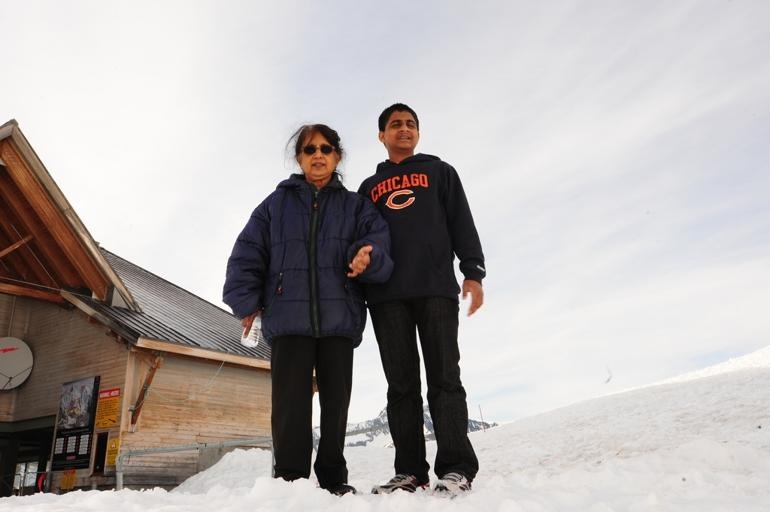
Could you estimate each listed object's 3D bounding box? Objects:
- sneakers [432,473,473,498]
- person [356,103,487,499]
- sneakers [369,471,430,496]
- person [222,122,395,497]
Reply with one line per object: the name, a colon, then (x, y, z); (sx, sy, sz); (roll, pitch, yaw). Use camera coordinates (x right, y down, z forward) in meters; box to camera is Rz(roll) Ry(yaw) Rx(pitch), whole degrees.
sneakers: (0.495, 1.715, 3.337); (0.124, 0.127, 0.284); (-23, -40, 31)
person: (0.310, 0.253, 3.879); (1.259, 3.452, 1.189); (-3, -15, -3)
sneakers: (0.166, 1.811, 3.553); (0.291, 0.113, 0.607); (-13, -19, 41)
person: (-0.632, 0.515, 3.707); (1.362, 2.625, 0.323); (-2, -14, 5)
